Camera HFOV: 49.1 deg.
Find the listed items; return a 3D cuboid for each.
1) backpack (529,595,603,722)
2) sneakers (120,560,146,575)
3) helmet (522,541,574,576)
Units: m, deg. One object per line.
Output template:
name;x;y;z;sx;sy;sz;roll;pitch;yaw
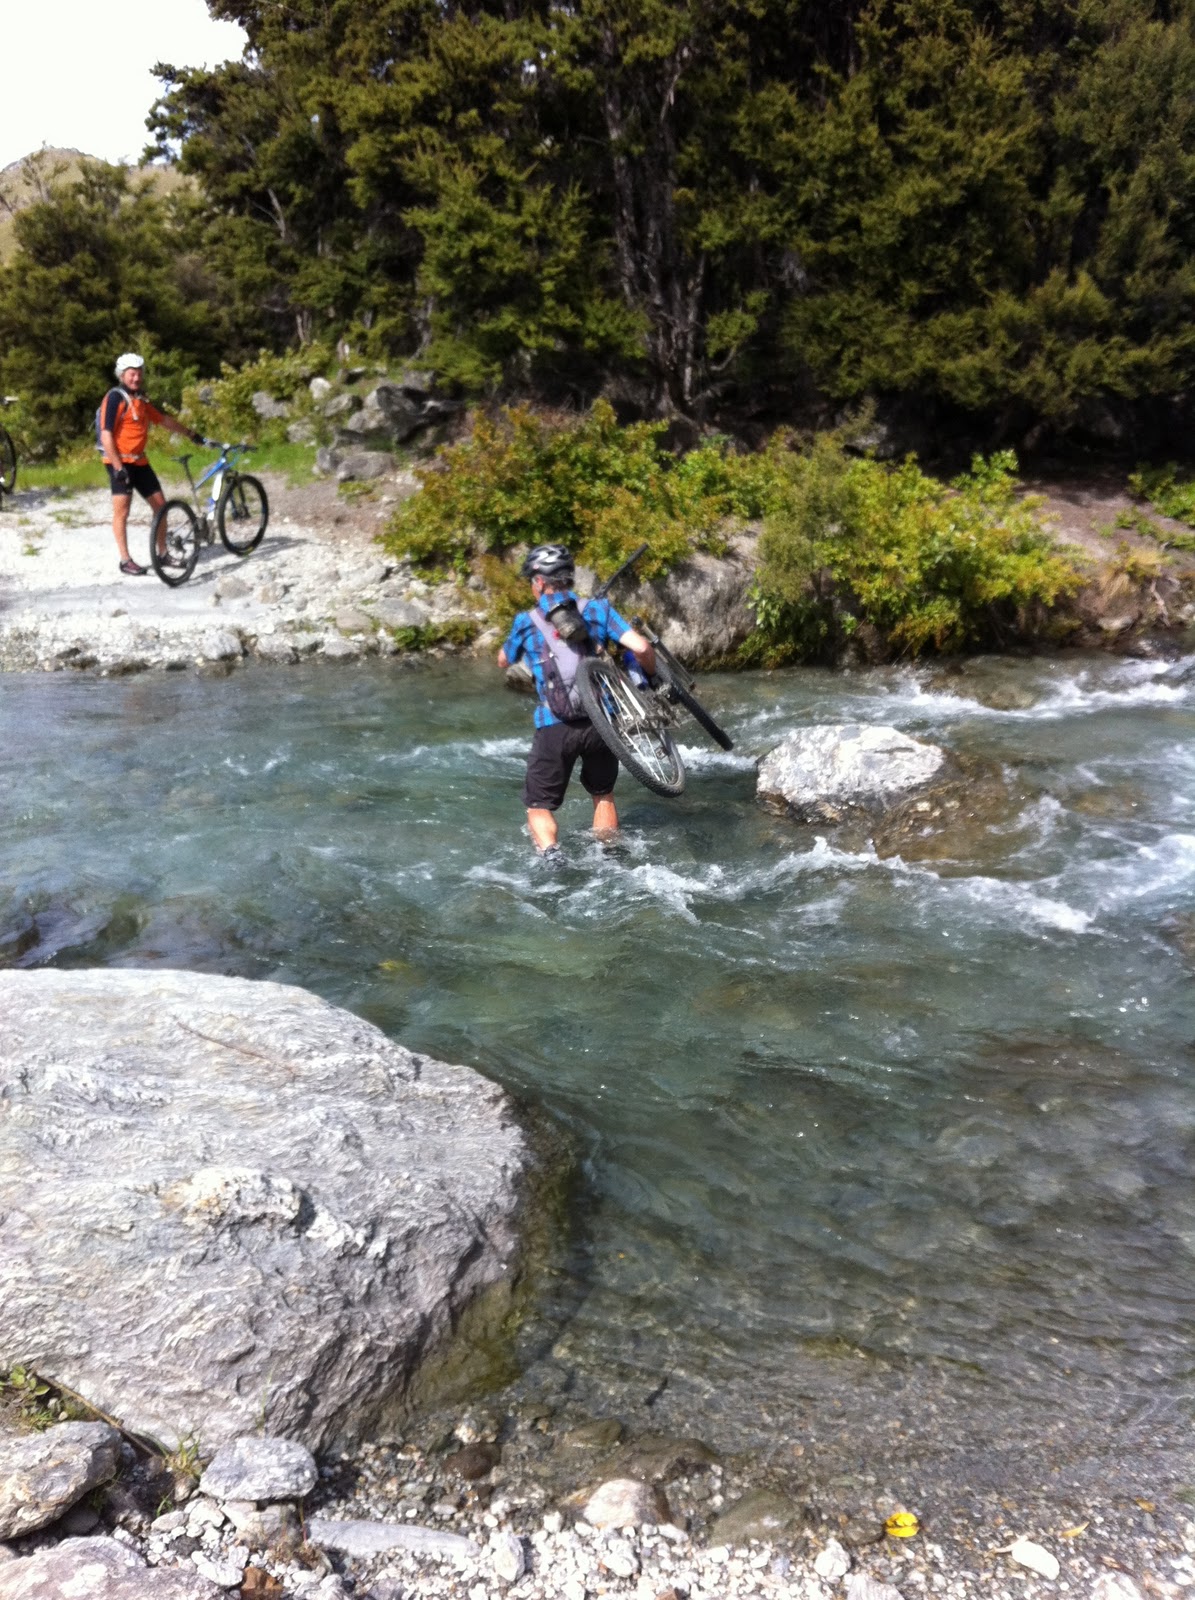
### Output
backpack;-0.209;-0.825;7.662;0.370;0.760;0.402;-4;10;1
sneakers;-5.492;-2.735;15.367;0.260;0.103;0.130;10;34;-4
helmet;-0.306;-1.452;7.801;0.194;0.213;0.241;-8;19;-37
